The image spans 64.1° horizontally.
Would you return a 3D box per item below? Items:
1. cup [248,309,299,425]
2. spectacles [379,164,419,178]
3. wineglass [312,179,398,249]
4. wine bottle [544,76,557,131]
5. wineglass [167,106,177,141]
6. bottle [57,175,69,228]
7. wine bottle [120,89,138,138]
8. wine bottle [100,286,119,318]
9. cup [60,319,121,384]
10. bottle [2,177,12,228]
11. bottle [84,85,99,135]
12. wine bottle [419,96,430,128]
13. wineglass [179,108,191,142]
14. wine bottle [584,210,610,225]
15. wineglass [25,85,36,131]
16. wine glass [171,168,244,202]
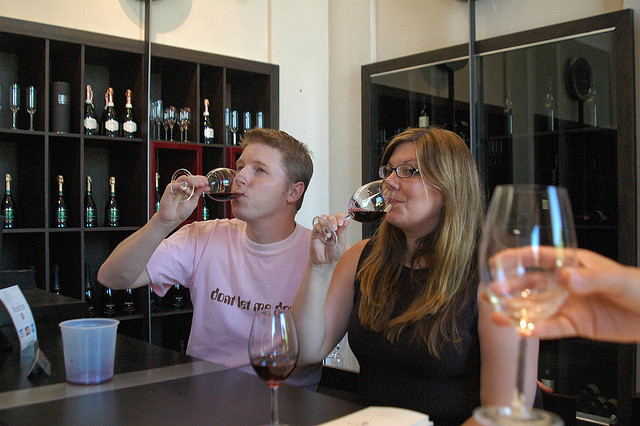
[{"bbox_3d":[-0.146,0.435,1.530,0.136,0.303,0.251,-3,9,-26],"label":"cup"},{"bbox_3d":[0.328,-0.183,2.202,0.071,0.067,0.208,-5,11,-33],"label":"spectacles"},{"bbox_3d":[0.140,0.000,2.086,0.366,0.267,0.150,-6,10,-37],"label":"wineglass"},{"bbox_3d":[1.402,-0.668,3.088,0.079,0.321,0.030,4,8,26],"label":"wine bottle"},{"bbox_3d":[-1.155,-0.705,3.991,0.073,0.267,0.090,-2,8,-17],"label":"wineglass"},{"bbox_3d":[-1.874,-0.086,3.706,0.076,0.364,0.227,-3,9,-28],"label":"bottle"},{"bbox_3d":[-1.477,-0.772,3.926,0.125,0.365,0.195,-4,9,-28],"label":"wine bottle"},{"bbox_3d":[-1.606,0.661,3.888,0.136,0.219,0.197,-3,9,-23],"label":"wine bottle"},{"bbox_3d":[-0.770,0.457,1.765,0.191,0.181,0.195,0,-7,0],"label":"cup"},{"bbox_3d":[-2.239,-0.095,3.646,0.063,0.343,0.207,-4,9,-31],"label":"bottle"},{"bbox_3d":[-1.731,-0.780,3.856,0.093,0.347,0.275,-3,9,-23],"label":"bottle"},{"bbox_3d":[0.726,-0.715,3.563,0.046,0.208,0.102,-4,9,-33],"label":"wine bottle"},{"bbox_3d":[-1.058,-0.700,4.018,0.071,0.258,0.103,1,8,6],"label":"wineglass"},{"bbox_3d":[1.582,0.020,2.916,0.124,0.086,0.013,5,9,29],"label":"wine bottle"},{"bbox_3d":[-2.011,-0.736,3.553,0.068,0.296,0.182,-4,9,-29],"label":"wineglass"},{"bbox_3d":[-0.517,-0.126,2.362,0.161,0.141,0.276,12,6,38],"label":"wine glass"}]
